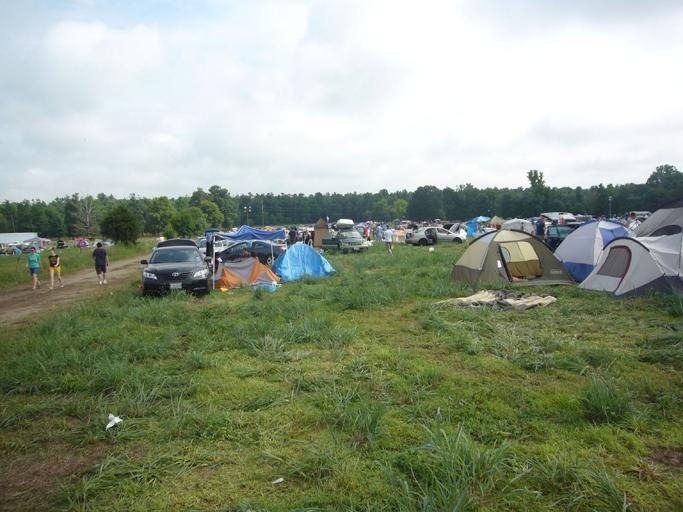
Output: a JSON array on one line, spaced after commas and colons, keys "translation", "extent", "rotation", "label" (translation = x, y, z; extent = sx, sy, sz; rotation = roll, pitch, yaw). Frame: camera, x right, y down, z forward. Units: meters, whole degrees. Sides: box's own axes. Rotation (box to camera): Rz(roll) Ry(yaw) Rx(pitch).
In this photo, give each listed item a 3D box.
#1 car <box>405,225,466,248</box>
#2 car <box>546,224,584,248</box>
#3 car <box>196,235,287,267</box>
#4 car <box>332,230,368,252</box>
[{"translation": [6.322, -1.392, 36.179], "extent": [3.161, 1.182, 1.601], "rotation": [-2, 9, -5], "label": "car"}, {"translation": [8.502, -0.770, 20.252], "extent": [0.921, 0.894, 1.557], "rotation": [-6, 9, -28], "label": "car"}, {"translation": [-4.085, -0.291, 23.673], "extent": [2.711, 1.135, 1.739], "rotation": [2, -2, -8], "label": "car"}, {"translation": [0.559, -0.830, 30.974], "extent": [1.299, 1.068, 2.017], "rotation": [-7, 12, -36], "label": "car"}]
